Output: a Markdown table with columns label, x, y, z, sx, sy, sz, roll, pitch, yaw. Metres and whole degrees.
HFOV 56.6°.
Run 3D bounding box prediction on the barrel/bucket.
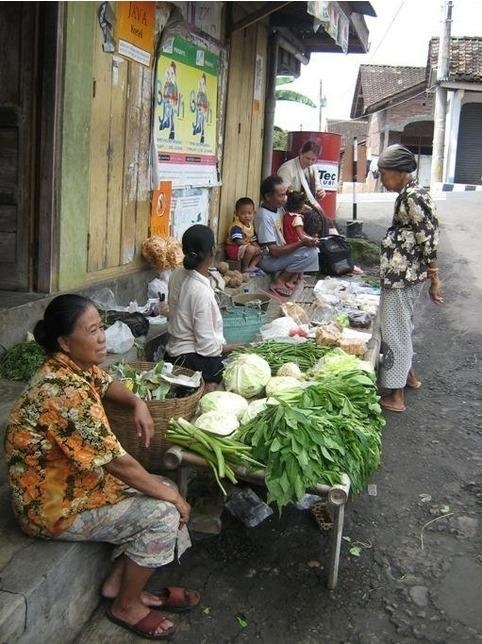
| label | x | y | z | sx | sy | sz | roll | pitch | yaw |
| --- | --- | --- | --- | --- | --- | --- | --- | --- | --- |
| barrel/bucket | 2.327 | -3.211 | 9.689 | 1.169 | 1.781 | 1.118 | -4 | 19 | 2 |

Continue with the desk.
| label | x | y | z | sx | sy | sz | roll | pitch | yaw |
| --- | --- | --- | --- | --- | --- | --- | --- | --- | --- |
| desk | 0.158 | 0.624 | 2.503 | 0.618 | 0.386 | 1.694 | 5 | 19 | 10 |

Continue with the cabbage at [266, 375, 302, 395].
| label | x | y | z | sx | sy | sz | roll | pitch | yaw |
| --- | --- | --- | --- | --- | --- | --- | --- | --- | --- |
| cabbage | 0.254 | 0.365 | 2.719 | 0.158 | 0.087 | 0.120 | -7 | 10 | -1 |

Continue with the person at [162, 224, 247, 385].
| label | x | y | z | sx | sy | sz | roll | pitch | yaw |
| --- | --- | --- | --- | --- | --- | --- | --- | --- | --- |
| person | -0.307 | -0.126 | 3.235 | 0.456 | 1.112 | 0.394 | 1 | 4 | 11 |

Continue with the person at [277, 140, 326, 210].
| label | x | y | z | sx | sy | sz | roll | pitch | yaw |
| --- | --- | --- | --- | --- | --- | --- | --- | --- | --- |
| person | 1.076 | -2.631 | 8.031 | 0.787 | 1.364 | 0.801 | -8 | 19 | -35 |

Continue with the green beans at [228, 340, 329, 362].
| label | x | y | z | sx | sy | sz | roll | pitch | yaw |
| --- | --- | --- | --- | --- | --- | --- | --- | --- | --- |
| green beans | 0.320 | 0.144 | 3.404 | 0.637 | 0.141 | 0.587 | 2 | 11 | 3 |

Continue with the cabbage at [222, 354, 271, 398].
| label | x | y | z | sx | sy | sz | roll | pitch | yaw |
| --- | --- | --- | --- | --- | --- | --- | --- | --- | --- |
| cabbage | 0.068 | 0.297 | 2.915 | 0.388 | 0.242 | 0.442 | 4 | 15 | 6 |

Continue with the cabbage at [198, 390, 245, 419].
| label | x | y | z | sx | sy | sz | roll | pitch | yaw |
| --- | --- | --- | --- | --- | --- | --- | --- | --- | --- |
| cabbage | -0.100 | 0.440 | 2.420 | 0.197 | 0.108 | 0.152 | 3 | -5 | 4 |

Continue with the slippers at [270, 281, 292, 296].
| label | x | y | z | sx | sy | sz | roll | pitch | yaw |
| --- | --- | --- | --- | --- | --- | --- | --- | --- | --- |
| slippers | 0.599 | -0.531 | 6.768 | 0.349 | 0.330 | 0.165 | 5 | 25 | 6 |

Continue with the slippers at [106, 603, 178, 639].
| label | x | y | z | sx | sy | sz | roll | pitch | yaw |
| --- | --- | --- | --- | --- | --- | --- | --- | --- | --- |
| slippers | -0.378 | 1.110 | 1.644 | 0.300 | 0.072 | 0.141 | 6 | 10 | 5 |

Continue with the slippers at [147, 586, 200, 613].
| label | x | y | z | sx | sy | sz | roll | pitch | yaw |
| --- | --- | --- | --- | --- | --- | --- | --- | --- | --- |
| slippers | -0.261 | 1.112 | 1.782 | 0.212 | 0.055 | 0.072 | -2 | 54 | 2 |
